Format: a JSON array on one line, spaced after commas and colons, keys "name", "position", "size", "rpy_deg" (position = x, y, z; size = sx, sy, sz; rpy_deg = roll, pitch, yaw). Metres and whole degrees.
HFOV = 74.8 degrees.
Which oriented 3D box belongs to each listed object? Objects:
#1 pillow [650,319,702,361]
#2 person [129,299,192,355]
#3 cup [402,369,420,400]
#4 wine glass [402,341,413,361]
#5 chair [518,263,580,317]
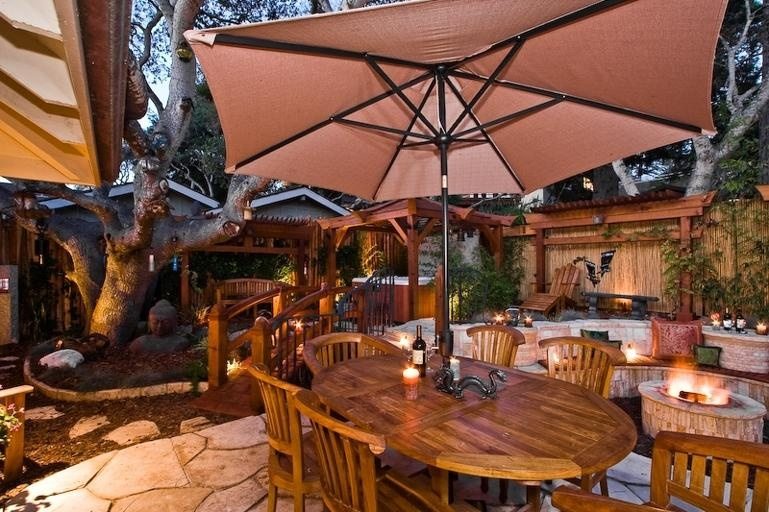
[{"name": "pillow", "position": [5.002, 1.394, 8.727], "size": [0.699, 0.608, 0.697], "rpy_deg": [-1, 0, 12]}, {"name": "person", "position": [-4.115, 1.278, 9.339], "size": [1.038, 0.923, 0.669], "rpy_deg": [2, 0, -11]}, {"name": "cup", "position": [0.232, 1.157, 4.515], "size": [0.148, 0.230, 0.149], "rpy_deg": [-2, -3, 0]}, {"name": "wine glass", "position": [0.227, 0.968, 5.151], "size": [0.150, 0.149, 0.171], "rpy_deg": [-1, -11, -1]}, {"name": "chair", "position": [3.907, 0.781, 11.900], "size": [1.488, 1.073, 0.877], "rpy_deg": [-5, 3, -33]}]
